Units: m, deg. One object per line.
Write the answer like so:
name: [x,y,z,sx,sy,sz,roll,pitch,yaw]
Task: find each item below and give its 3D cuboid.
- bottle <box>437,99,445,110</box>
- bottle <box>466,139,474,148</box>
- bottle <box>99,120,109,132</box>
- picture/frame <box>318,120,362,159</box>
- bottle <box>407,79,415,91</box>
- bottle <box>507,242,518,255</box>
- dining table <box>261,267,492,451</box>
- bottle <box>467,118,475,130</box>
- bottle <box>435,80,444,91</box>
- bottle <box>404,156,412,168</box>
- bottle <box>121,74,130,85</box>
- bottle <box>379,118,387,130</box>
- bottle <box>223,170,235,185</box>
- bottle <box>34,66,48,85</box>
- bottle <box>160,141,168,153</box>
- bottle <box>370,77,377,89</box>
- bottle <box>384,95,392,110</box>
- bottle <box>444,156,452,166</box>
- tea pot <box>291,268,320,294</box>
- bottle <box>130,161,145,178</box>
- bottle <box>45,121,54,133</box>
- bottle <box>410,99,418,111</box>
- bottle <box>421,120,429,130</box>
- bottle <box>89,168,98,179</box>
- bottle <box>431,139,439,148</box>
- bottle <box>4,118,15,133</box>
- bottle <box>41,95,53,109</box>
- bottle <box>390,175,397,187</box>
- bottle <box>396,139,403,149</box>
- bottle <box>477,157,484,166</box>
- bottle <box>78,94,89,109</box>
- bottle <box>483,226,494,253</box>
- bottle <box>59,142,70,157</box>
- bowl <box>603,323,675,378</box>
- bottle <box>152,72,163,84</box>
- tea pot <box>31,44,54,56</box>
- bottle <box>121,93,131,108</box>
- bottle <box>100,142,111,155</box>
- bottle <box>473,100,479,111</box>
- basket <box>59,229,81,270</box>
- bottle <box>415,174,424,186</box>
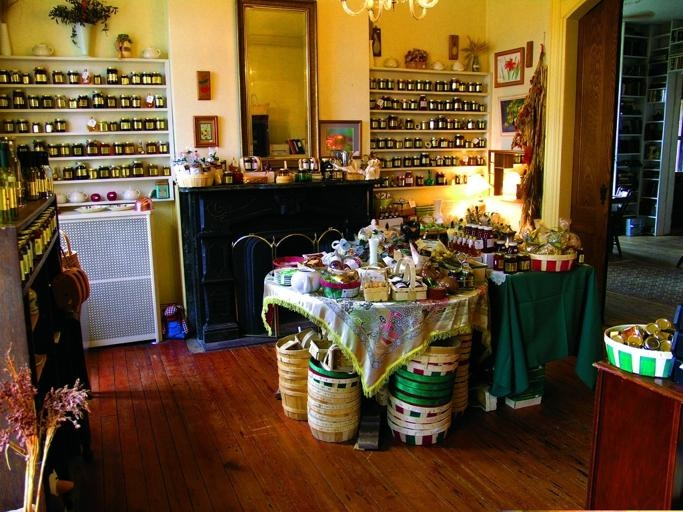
bottle: [1.285,-1.934,6.642,0.132,0.118,0.054,-13,17,-41]
bottle: [1.734,-1.505,6.897,0.092,0.102,0.094,6,8,40]
bottle: [-2.414,-1.326,5.286,0.096,0.118,0.098,-3,11,-18]
picture/frame: [-0.026,-1.319,5.741,0.490,0.415,0.040,0,3,-30]
bottle: [0.887,-2.148,6.481,0.110,0.135,0.116,0,4,9]
bottle: [1.210,-0.059,3.631,0.065,0.092,0.054,1,13,7]
dining table: [0.333,0.506,4.036,1.591,0.635,1.752,3,7,23]
bottle: [1.727,-1.751,6.831,0.115,0.168,0.115,2,8,0]
bottle: [1.266,-2.174,6.614,0.144,0.150,0.108,-1,6,-7]
bottle: [0.870,-1.222,6.608,0.106,0.125,0.104,-5,7,-44]
bottle: [-2.175,-1.790,5.220,0.092,0.096,0.094,-5,20,-20]
bottle: [0.537,-1.638,6.389,0.117,0.146,0.123,2,6,17]
bottle: [-1.076,-0.756,4.955,0.114,0.139,0.116,-2,8,-21]
bottle: [-2.922,-1.765,5.039,0.123,0.155,0.079,-9,15,-29]
bottle: [-1.869,-1.147,5.471,0.087,0.125,0.125,0,7,5]
bottle: [0.402,-2.097,6.243,0.092,0.148,0.256,0,14,5]
bottle: [0.585,-1.881,6.349,0.126,0.215,0.138,-1,5,0]
bottle: [1.426,-1.258,6.810,0.106,0.114,0.111,0,1,0]
tea pot: [-0.232,0.162,3.395,0.130,0.100,0.166,4,1,6]
bottle: [-2.122,-0.906,5.386,0.136,0.196,0.136,1,2,0]
bottle: [-2.904,-1.286,5.138,0.094,0.111,0.103,-9,15,-31]
bottle: [0.943,-1.912,6.540,0.091,0.134,0.129,7,16,31]
bottle: [1.077,-1.679,6.617,0.093,0.097,0.097,2,3,1]
bottle: [-2.533,-0.849,5.286,0.085,0.105,0.089,0,3,-6]
bottle: [1.231,-1.472,6.727,0.111,0.117,0.084,2,-2,-24]
bottle: [-3.218,-1.269,5.010,0.104,0.118,0.106,3,6,38]
bottle: [-2.880,-1.507,5.067,0.110,0.149,0.114,1,4,0]
bottle: [0.696,-0.963,6.604,0.099,0.132,0.195,2,14,11]
bottle: [0.741,-1.414,6.511,0.095,0.110,0.096,-4,10,-29]
bottle: [1.902,-1.289,6.995,0.105,0.130,0.110,-1,1,0]
bottle: [-2.568,-1.557,5.172,0.117,0.167,0.120,2,15,-1]
bottle: [1.123,-0.129,3.905,0.080,0.184,0.101,3,13,16]
bottle: [-2.775,-1.076,5.200,0.106,0.129,0.109,1,3,35]
bowl: [1.270,0.428,2.296,0.315,0.124,0.283,21,-4,-18]
bottle: [-1.886,-1.825,5.299,0.104,0.151,0.106,1,15,0]
tea pot: [-2.876,-1.970,4.967,0.140,0.103,0.116,3,6,-2]
bottle: [-2.186,-1.568,5.192,0.105,0.122,0.111,3,9,13]
bottle: [-2.409,-1.100,5.307,0.124,0.121,0.066,-12,17,-38]
bottle: [1.786,-1.991,6.836,0.104,0.128,0.109,-1,0,4]
basket: [-1.975,-0.019,3.770,0.115,0.168,0.172,-8,9,-3]
bottle: [1.018,-1.005,6.705,0.114,0.155,0.119,0,2,0]
